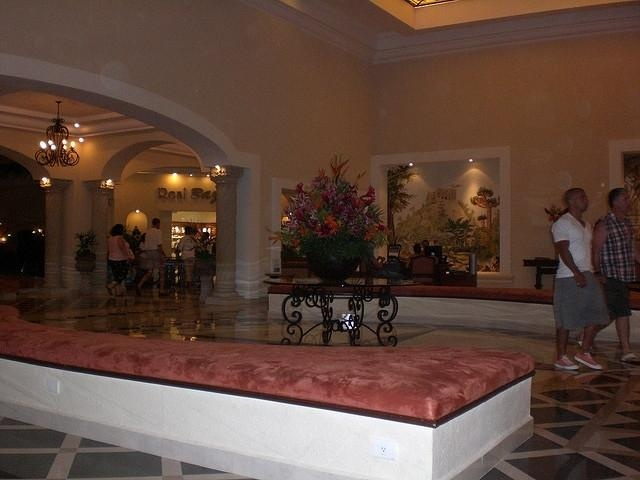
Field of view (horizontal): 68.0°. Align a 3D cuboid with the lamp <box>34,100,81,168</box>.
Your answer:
[{"bbox_3d":[-6.971,-2.690,12.523,0.894,1.529,2.318,-5,5,-28],"label":"lamp"}]

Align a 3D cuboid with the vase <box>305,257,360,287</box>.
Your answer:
[{"bbox_3d":[0.136,0.327,5.456,0.385,0.279,0.388,0,0,14],"label":"vase"}]

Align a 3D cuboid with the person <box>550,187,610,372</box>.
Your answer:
[{"bbox_3d":[2.654,0.415,4.871,0.481,1.884,0.643,0,5,26],"label":"person"}]

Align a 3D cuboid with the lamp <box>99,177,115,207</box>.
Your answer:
[{"bbox_3d":[-6.215,-1.420,13.969,0.312,0.797,0.457,-2,4,5],"label":"lamp"}]

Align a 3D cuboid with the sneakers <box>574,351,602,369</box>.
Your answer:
[{"bbox_3d":[2.757,1.246,4.972,0.124,0.147,0.325,0,1,-39],"label":"sneakers"}]

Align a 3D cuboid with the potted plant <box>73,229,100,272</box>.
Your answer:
[{"bbox_3d":[-6.598,0.333,13.382,0.587,1.145,0.869,-5,5,-27],"label":"potted plant"}]

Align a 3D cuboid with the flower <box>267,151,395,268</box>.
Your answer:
[{"bbox_3d":[0.130,-0.299,5.439,1.187,1.125,0.427,-2,4,6],"label":"flower"}]

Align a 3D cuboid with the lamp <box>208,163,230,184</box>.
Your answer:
[{"bbox_3d":[-2.175,-1.457,10.215,0.357,0.370,0.373,4,7,24],"label":"lamp"}]
